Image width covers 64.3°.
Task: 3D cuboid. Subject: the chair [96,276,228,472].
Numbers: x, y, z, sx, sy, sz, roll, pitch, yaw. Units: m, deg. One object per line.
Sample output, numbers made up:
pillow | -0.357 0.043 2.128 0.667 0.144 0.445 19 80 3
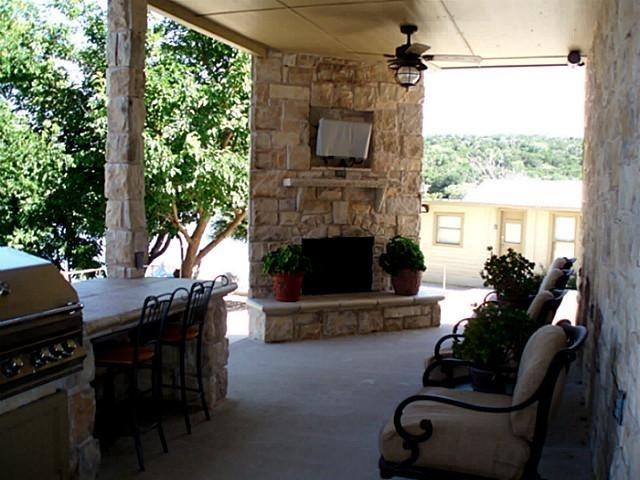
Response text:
chair | -1.170 0.986 3.715 0.559 0.791 1.127 4 4 20

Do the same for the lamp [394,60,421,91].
lamp | 0.915 -1.687 5.237 0.257 0.182 0.264 -1 6 -6

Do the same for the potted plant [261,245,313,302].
potted plant | -0.389 0.406 6.333 0.649 0.686 0.587 0 -5 -3

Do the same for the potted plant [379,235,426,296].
potted plant | 1.037 0.381 6.858 0.721 0.884 0.658 2 -11 -5
